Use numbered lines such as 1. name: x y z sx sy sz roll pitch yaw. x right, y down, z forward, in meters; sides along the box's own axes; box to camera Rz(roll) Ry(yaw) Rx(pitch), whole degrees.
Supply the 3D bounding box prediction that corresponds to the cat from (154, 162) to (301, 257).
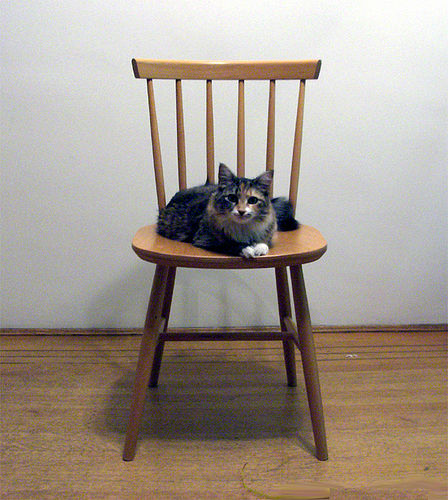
1. cat: -0.001 -0.108 1.055 0.201 0.176 0.357 -9 17 -32
